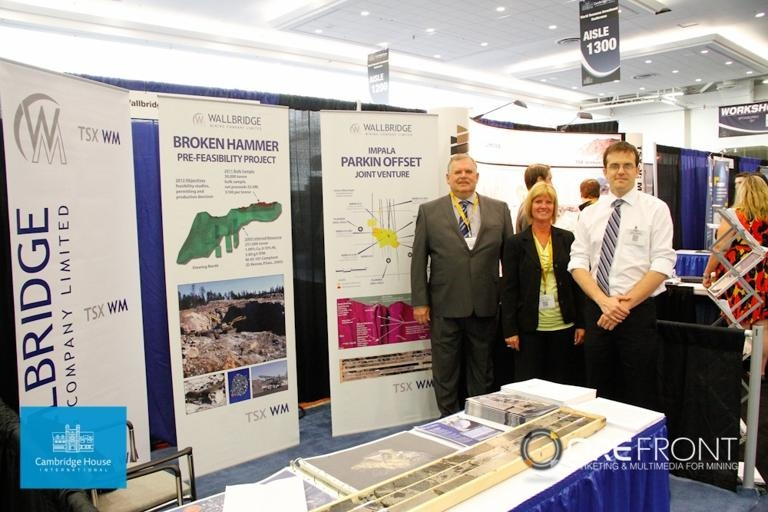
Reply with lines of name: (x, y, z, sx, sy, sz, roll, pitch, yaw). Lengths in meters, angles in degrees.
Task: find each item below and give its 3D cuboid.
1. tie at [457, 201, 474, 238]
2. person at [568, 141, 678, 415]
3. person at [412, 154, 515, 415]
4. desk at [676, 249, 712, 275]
tie: (0.641, -0.291, 4.260, 0.106, 0.280, 0.020, -1, -8, -3)
person: (1.592, 0.154, 3.642, 0.649, 1.837, 0.386, -1, 5, 16)
person: (0.713, 0.336, 4.381, 0.982, 2.216, 0.582, -1, 19, 4)
desk: (4.045, 0.089, 7.053, 0.328, 0.202, 0.324, 1, 8, 16)
